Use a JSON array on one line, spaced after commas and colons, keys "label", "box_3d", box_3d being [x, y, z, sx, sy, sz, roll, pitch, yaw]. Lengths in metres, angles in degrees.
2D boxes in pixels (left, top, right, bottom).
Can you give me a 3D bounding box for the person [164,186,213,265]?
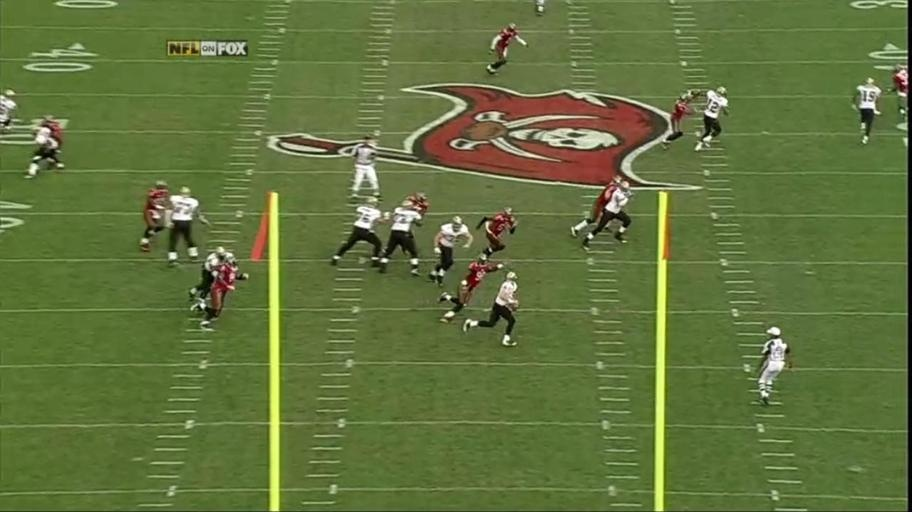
[{"label": "person", "box_3d": [-7.521, -0.806, 52.883, 1.625, 1.867, 0.868, 1, 5, -33]}]
